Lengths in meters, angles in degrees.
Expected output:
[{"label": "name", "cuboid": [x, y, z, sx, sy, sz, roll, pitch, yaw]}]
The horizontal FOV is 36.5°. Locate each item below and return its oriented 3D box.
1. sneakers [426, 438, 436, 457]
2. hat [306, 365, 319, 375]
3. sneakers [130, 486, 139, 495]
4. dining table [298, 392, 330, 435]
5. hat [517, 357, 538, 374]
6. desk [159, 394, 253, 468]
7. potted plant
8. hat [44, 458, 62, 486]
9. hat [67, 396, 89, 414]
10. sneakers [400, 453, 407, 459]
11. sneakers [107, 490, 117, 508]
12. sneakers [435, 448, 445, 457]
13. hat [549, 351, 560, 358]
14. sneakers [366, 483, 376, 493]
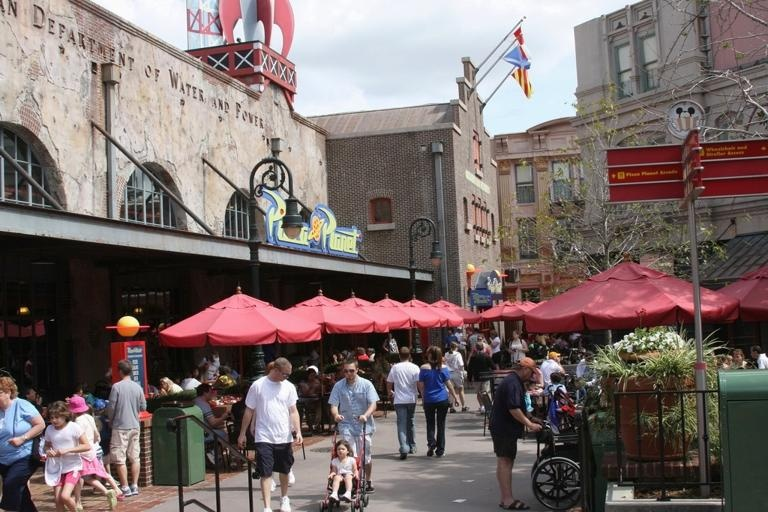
[{"label": "sneakers", "cuboid": [1.200, 4.757, 28.902, 0.149, 0.477, 0.201, 2, -10, -2]}, {"label": "hat", "cuboid": [-1.978, 3.232, 33.080, 0.507, 0.161, 0.446, 13, -2, -29]}, {"label": "sneakers", "cuboid": [-5.669, 5.354, 26.740, 0.182, 0.217, 0.382, -1, -7, -12]}, {"label": "dining table", "cuboid": [-1.932, 4.190, 32.444, 0.825, 1.148, 0.640, -1, 26, 1]}, {"label": "hat", "cuboid": [3.189, 2.391, 25.520, 0.303, 0.172, 0.431, 18, 2, 36]}, {"label": "desk", "cuboid": [-4.386, 4.415, 27.386, 1.789, 2.525, 2.582, -3, -7, 16]}, {"label": "potted plant", "cuboid": [5.247, 2.677, 22.726, 2.304, 2.311, 2.327, 2, -11, -16]}, {"label": "hat", "cuboid": [-7.004, 4.578, 24.781, 0.330, 0.591, 0.120, 0, -7, 3]}, {"label": "hat", "cuboid": [-6.738, 3.269, 25.721, 0.352, 0.209, 0.411, -3, 8, -26]}, {"label": "sneakers", "cuboid": [0.523, 4.922, 28.769, 0.131, 0.147, 0.370, 2, -2, 3]}, {"label": "sneakers", "cuboid": [-5.917, 5.315, 25.665, 0.188, 0.458, 0.165, 9, 26, 31]}, {"label": "sneakers", "cuboid": [1.428, 4.875, 28.893, 0.222, 0.236, 0.190, 17, -25, -29]}, {"label": "hat", "cuboid": [4.797, 2.781, 32.514, 0.257, 0.138, 0.193, -7, 8, -16]}, {"label": "sneakers", "cuboid": [-0.249, 5.181, 26.199, 0.102, 0.172, 0.292, 0, 2, 13]}]
